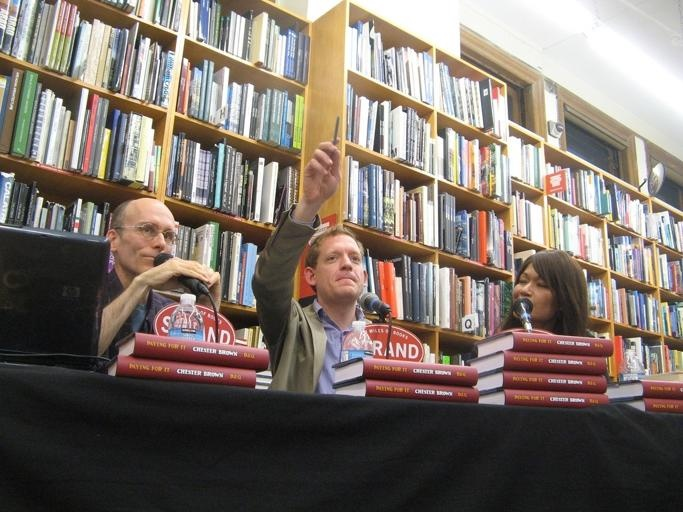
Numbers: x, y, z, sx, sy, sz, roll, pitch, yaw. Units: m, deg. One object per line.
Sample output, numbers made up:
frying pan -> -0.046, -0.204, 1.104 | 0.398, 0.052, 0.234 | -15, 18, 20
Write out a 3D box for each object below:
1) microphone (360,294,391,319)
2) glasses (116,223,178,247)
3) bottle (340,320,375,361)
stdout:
microphone -> 0.109, 0.157, 1.728 | 0.052, 0.044, 0.145 | -18, 15, -17
glasses -> -0.740, -0.081, 2.082 | 0.213, 0.071, 0.098 | 4, -8, -21
bottle -> 0.045, 0.225, 1.491 | 0.078, 0.102, 0.209 | 1, -7, 3
